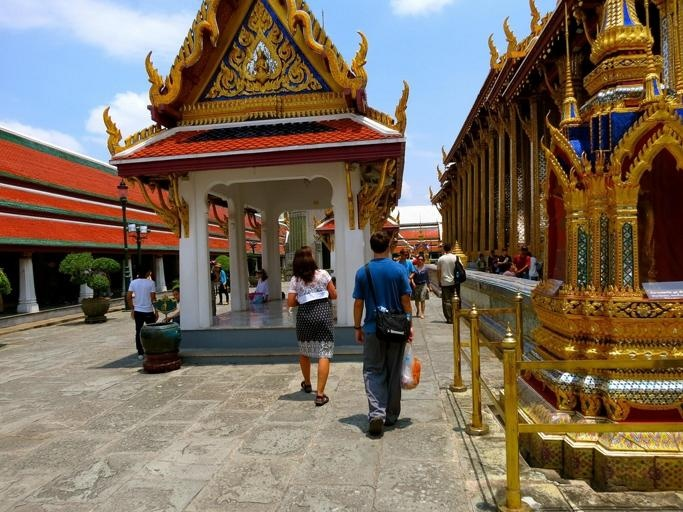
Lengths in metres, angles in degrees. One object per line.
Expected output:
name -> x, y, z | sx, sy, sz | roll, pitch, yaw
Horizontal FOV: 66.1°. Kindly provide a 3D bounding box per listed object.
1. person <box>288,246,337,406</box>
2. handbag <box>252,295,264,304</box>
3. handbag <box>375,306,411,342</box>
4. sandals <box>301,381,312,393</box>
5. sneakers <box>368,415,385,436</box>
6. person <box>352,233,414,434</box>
person -> -0.413, 0.951, 7.474 | 0.649, 2.091, 0.695 | -3, -1, 16
handbag -> -2.352, 1.210, 14.930 | 0.319, 0.239, 0.303 | -3, 0, -6
handbag -> 0.575, 0.857, 6.349 | 0.532, 0.565, 0.312 | 2, -14, -10
sandals -> -0.521, 1.930, 7.735 | 0.126, 0.108, 0.285 | 0, -9, -6
sneakers -> 0.402, 2.003, 6.234 | 0.195, 0.229, 0.271 | -3, 0, 2
person -> 0.519, 0.901, 6.431 | 0.695, 2.402, 0.636 | -3, -1, -1
